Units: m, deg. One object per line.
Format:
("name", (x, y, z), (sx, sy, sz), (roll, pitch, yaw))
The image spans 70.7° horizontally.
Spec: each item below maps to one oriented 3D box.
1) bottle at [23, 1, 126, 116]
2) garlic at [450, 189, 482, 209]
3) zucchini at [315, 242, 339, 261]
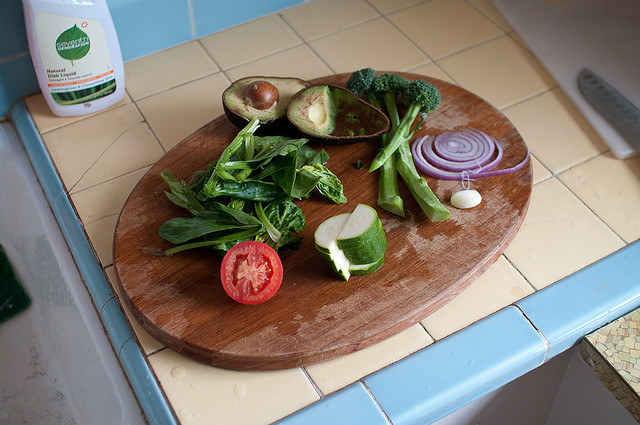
("bottle", (-0.621, -0.390, 1.158), (0.203, 0.264, 0.141), (-10, 66, -16))
("garlic", (0.314, -0.025, 0.996), (0.042, 0.014, 0.051), (-23, 29, -4))
("zucchini", (0.018, 0.073, 0.896), (0.037, 0.023, 0.034), (37, 63, 8))
